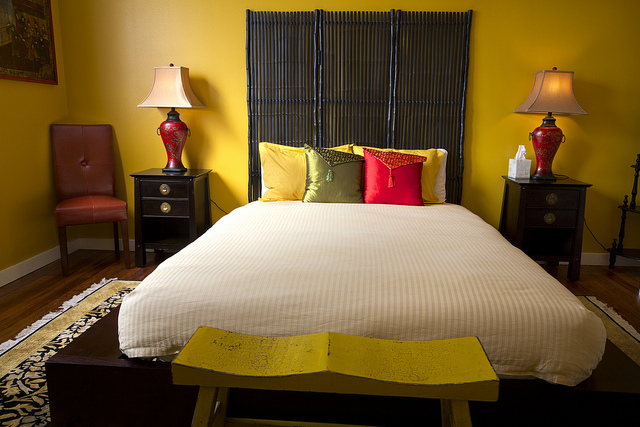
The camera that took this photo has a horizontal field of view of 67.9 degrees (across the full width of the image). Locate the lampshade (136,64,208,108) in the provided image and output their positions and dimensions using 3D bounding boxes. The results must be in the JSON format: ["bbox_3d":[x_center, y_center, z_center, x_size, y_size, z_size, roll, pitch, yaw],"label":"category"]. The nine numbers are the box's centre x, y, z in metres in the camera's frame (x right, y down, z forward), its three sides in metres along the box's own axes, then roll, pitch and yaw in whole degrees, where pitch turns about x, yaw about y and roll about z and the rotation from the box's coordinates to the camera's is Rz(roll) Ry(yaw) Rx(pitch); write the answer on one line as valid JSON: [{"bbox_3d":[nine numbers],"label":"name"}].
[{"bbox_3d":[-1.372,-1.177,4.384,0.576,0.329,0.584,-5,22,-18],"label":"lampshade"}]

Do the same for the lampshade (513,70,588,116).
[{"bbox_3d":[2.022,-1.055,4.133,0.478,0.361,0.304,-1,16,-6],"label":"lampshade"}]

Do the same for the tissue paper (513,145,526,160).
[{"bbox_3d":[1.812,-0.539,4.268,0.091,0.153,0.122,2,5,8],"label":"tissue paper"}]
